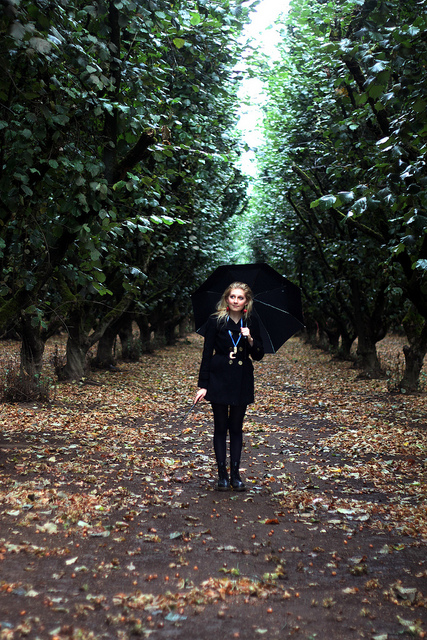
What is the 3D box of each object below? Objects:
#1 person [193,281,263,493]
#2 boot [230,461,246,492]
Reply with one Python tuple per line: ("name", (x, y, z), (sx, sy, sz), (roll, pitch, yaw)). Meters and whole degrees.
("person", (0.154, 0.696, 5.246), (0.717, 1.999, 0.466), (3, -1, -14))
("boot", (0.259, 1.611, 5.430), (0.177, 0.307, 0.323), (3, -1, 3))
